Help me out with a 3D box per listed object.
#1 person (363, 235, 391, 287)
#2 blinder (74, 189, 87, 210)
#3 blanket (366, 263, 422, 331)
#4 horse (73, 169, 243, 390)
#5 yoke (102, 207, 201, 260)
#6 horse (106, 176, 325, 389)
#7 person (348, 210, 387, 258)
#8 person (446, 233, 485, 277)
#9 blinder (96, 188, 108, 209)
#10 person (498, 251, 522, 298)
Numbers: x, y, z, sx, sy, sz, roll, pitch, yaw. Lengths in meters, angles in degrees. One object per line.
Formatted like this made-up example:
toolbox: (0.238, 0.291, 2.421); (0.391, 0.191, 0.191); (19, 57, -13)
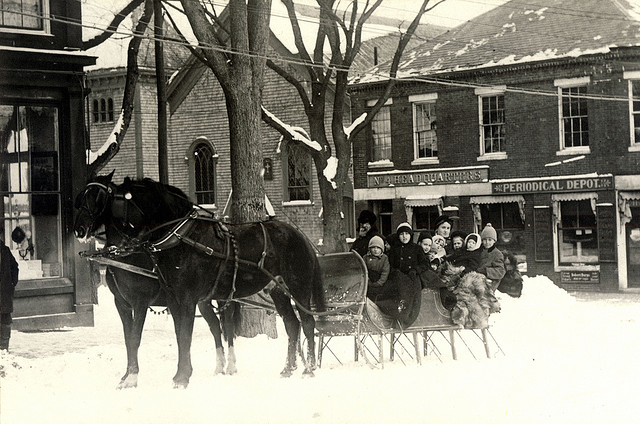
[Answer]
person: (1.319, 1.071, 20.456); (0.583, 1.063, 0.718); (0, 9, 0)
blinder: (-4.971, -0.280, 18.316); (0.131, 0.354, 0.271); (23, 13, 12)
blanket: (1.709, 1.851, 19.828); (0.821, 1.140, 1.137); (-6, 11, -36)
horse: (-3.317, 1.678, 19.812); (1.401, 4.176, 5.138); (-1, -12, 40)
yoke: (-3.454, 0.376, 18.836); (1.527, 1.129, 2.851); (1, -1, -5)
horse: (-2.125, 1.628, 18.984); (5.531, 4.260, 1.523); (5, -9, -34)
person: (1.428, 0.571, 26.037); (0.624, 1.823, 1.316); (14, -17, -41)
person: (3.390, 0.911, 20.903); (0.750, 0.721, 1.314); (1, 9, 6)
blinder: (-4.463, -0.308, 18.245); (0.210, 0.388, 0.087); (-1, 9, -6)
person: (4.557, 1.480, 21.341); (0.542, 0.938, 1.153); (2, 9, 13)
